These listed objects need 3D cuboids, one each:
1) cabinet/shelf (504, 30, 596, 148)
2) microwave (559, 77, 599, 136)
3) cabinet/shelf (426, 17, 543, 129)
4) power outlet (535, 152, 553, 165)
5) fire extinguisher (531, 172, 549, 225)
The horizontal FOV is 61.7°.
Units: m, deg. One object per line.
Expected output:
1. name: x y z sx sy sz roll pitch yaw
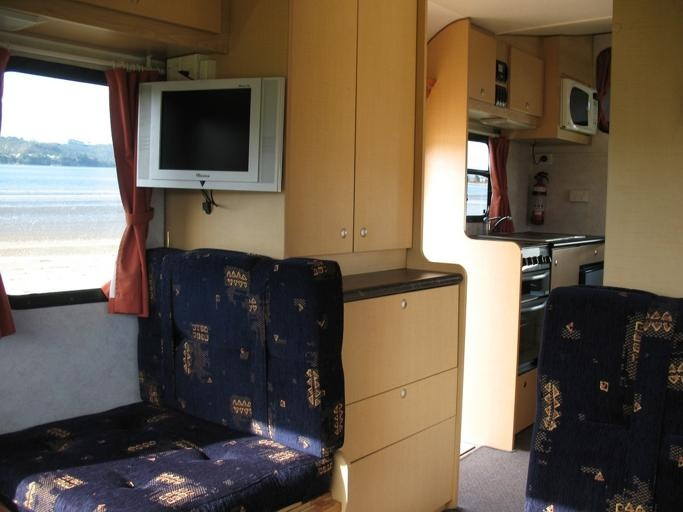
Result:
1. cabinet/shelf: 1.663 -1.369 4.630 0.328 1.064 0.812 8 12 42
2. microwave: 1.991 -1.245 4.815 0.347 0.417 0.585 4 10 37
3. cabinet/shelf: 1.054 -1.297 4.206 0.345 0.765 1.357 8 16 39
4. power outlet: 1.876 -0.899 5.345 0.172 0.133 0.092 5 7 37
5. fire extinguisher: 1.841 -0.536 5.367 0.125 0.496 0.177 7 15 37
